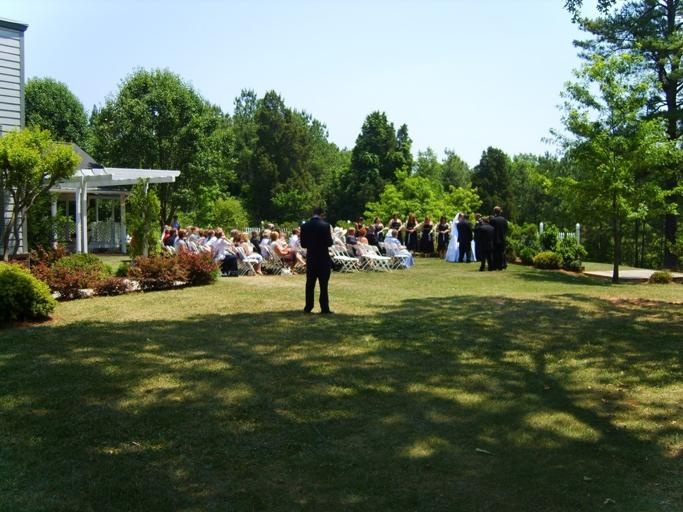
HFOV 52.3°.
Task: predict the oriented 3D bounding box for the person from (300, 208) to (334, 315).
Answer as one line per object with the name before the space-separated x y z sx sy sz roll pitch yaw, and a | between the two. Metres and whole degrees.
person | -0.481 0.052 14.558 0.609 2.160 0.642 1 8 11
